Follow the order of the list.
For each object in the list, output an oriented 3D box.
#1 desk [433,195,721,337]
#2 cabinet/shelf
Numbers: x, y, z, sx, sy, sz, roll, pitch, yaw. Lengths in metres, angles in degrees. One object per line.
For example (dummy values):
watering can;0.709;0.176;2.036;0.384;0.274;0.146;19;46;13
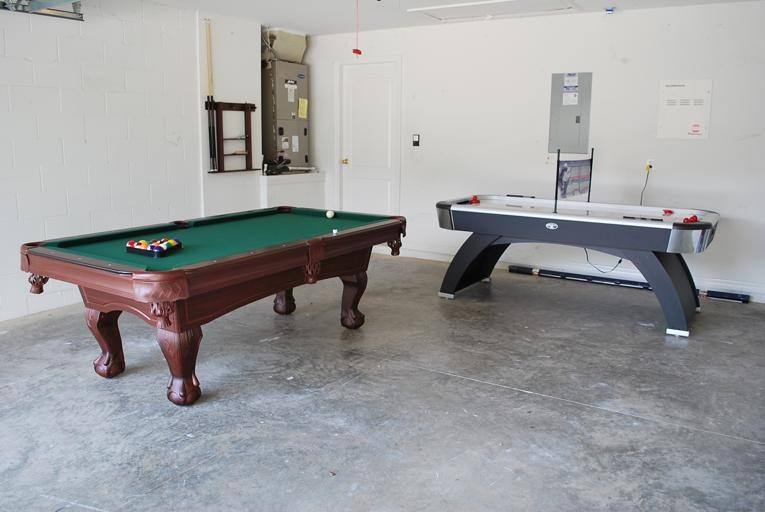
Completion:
desk;1.797;-0.030;5.183;2.371;0.921;0.922;10;20;36
cabinet/shelf;-1.314;-1.896;7.169;0.761;1.395;0.481;-8;19;-25
